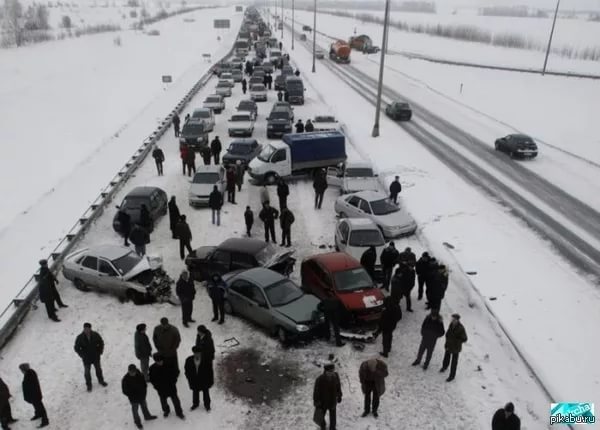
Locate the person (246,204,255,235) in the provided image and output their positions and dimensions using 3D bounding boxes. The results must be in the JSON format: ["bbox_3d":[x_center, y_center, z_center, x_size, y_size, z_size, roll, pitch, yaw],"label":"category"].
[{"bbox_3d":[-2.335,0.162,22.015,0.355,1.519,0.962,-6,26,-9],"label":"person"}]

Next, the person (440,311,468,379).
[{"bbox_3d":[4.893,4.104,15.037,0.612,2.109,0.807,16,31,33],"label":"person"}]

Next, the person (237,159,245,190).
[{"bbox_3d":[-3.238,-2.085,25.936,0.410,1.600,0.511,-5,26,-8],"label":"person"}]

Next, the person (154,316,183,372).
[{"bbox_3d":[-4.158,4.160,14.876,0.797,2.345,0.700,1,25,-8],"label":"person"}]

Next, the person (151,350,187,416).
[{"bbox_3d":[-3.895,4.956,13.904,0.815,2.399,0.605,-5,25,-3],"label":"person"}]

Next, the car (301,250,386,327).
[{"bbox_3d":[1.522,2.719,17.926,1.682,1.489,3.519,-9,33,-22],"label":"car"}]

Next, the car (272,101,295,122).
[{"bbox_3d":[-1.190,-8.136,36.886,1.216,1.023,2.770,1,33,2],"label":"car"}]

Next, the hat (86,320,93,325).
[{"bbox_3d":[-6.564,3.330,14.671,0.163,0.198,0.234,-4,-8,-12],"label":"hat"}]

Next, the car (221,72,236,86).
[{"bbox_3d":[-7.689,-14.468,50.914,1.248,1.150,2.249,-3,28,-2],"label":"car"}]

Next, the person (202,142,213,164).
[{"bbox_3d":[-5.484,-3.515,27.896,0.573,1.155,1.632,-7,28,-12],"label":"person"}]

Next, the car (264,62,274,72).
[{"bbox_3d":[-3.783,-18.229,57.859,0.960,0.970,1.959,-2,23,-2],"label":"car"}]

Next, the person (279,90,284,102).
[{"bbox_3d":[-1.711,-11.395,44.623,0.424,0.901,1.857,-4,28,-4],"label":"person"}]

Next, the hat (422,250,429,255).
[{"bbox_3d":[4.854,1.439,18.187,0.158,0.228,0.226,-1,62,-1],"label":"hat"}]

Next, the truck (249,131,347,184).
[{"bbox_3d":[-0.087,-3.571,28.018,5.881,2.781,2.749,-12,41,-7],"label":"truck"}]

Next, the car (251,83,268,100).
[{"bbox_3d":[-3.950,-11.892,45.602,1.525,1.356,1.832,-5,28,-8],"label":"car"}]

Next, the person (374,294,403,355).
[{"bbox_3d":[2.948,3.581,15.699,0.748,2.045,0.773,10,28,22],"label":"person"}]

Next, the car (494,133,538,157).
[{"bbox_3d":[14.943,-4.834,32.978,1.451,1.232,2.630,-4,30,-2],"label":"car"}]

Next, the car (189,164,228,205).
[{"bbox_3d":[-4.872,-1.595,25.135,1.310,1.175,2.624,0,25,2],"label":"car"}]

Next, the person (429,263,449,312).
[{"bbox_3d":[5.046,2.627,17.212,0.598,2.096,0.973,6,27,16],"label":"person"}]

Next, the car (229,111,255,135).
[{"bbox_3d":[-4.246,-6.573,34.496,1.596,1.403,2.324,0,28,3],"label":"car"}]

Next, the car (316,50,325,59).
[{"bbox_3d":[3.250,-24.777,73.380,1.182,1.011,2.253,-2,40,-1],"label":"car"}]

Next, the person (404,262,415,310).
[{"bbox_3d":[4.050,2.584,17.485,0.446,1.898,0.600,3,26,10],"label":"person"}]

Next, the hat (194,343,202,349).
[{"bbox_3d":[-2.997,3.832,13.776,0.178,0.190,0.147,-16,23,-41],"label":"hat"}]

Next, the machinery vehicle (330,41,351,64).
[{"bbox_3d":[6.109,-24.312,70.367,1.915,2.537,4.793,-7,29,-10],"label":"machinery vehicle"}]

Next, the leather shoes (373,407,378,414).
[{"bbox_3d":[2.283,5.856,14.110,0.086,0.095,0.204,-1,18,-3],"label":"leather shoes"}]

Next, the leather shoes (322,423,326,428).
[{"bbox_3d":[0.712,6.146,13.736,0.075,0.073,0.130,-6,7,-4],"label":"leather shoes"}]

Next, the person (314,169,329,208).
[{"bbox_3d":[1.056,-1.437,24.391,0.600,1.773,0.529,8,31,12],"label":"person"}]

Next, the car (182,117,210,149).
[{"bbox_3d":[-6.894,-5.495,31.620,1.229,1.207,2.237,-1,24,-2],"label":"car"}]

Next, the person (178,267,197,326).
[{"bbox_3d":[-3.989,2.795,16.741,0.620,2.117,0.614,-13,28,-23],"label":"person"}]

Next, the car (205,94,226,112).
[{"bbox_3d":[-7.203,-9.619,40.672,1.027,0.882,2.351,-2,28,-4],"label":"car"}]

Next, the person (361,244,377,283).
[{"bbox_3d":[2.830,1.819,18.744,0.633,1.637,0.552,-16,27,-21],"label":"person"}]
